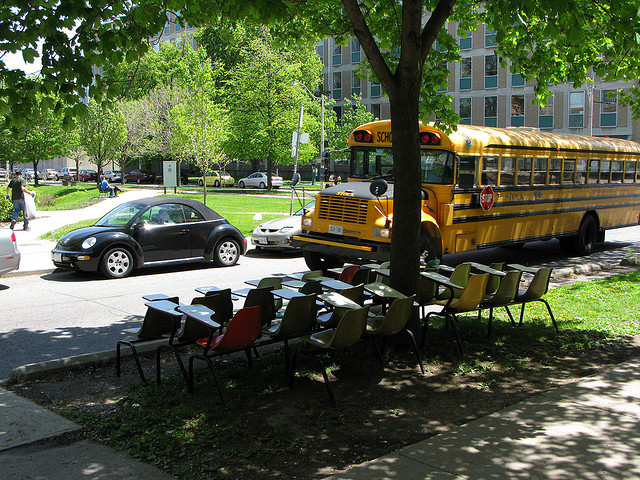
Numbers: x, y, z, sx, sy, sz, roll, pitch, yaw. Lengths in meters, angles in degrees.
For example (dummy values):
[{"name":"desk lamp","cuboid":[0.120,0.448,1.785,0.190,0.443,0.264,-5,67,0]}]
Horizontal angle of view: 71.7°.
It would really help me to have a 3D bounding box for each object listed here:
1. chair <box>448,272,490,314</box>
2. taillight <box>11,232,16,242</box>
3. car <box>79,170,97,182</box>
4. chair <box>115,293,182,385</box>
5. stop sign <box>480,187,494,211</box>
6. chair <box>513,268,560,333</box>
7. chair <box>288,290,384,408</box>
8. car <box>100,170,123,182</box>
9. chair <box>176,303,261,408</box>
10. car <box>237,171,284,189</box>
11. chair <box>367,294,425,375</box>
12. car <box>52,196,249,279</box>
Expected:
[{"name":"chair","cuboid":[2.086,0.602,6.226,0.368,0.316,0.340,-18,10,-21]},{"name":"taillight","cuboid":[-7.267,-0.086,10.463,0.062,0.236,0.246,2,-5,-25]},{"name":"car","cuboid":[-35.544,-10.004,67.670,2.110,1.546,4.870,-5,9,-35]},{"name":"chair","cuboid":[-2.233,1.278,5.626,0.603,0.839,0.649,36,-25,-21]},{"name":"stop sign","cuboid":[4.423,-1.136,11.841,0.089,0.577,0.606,3,-9,45]},{"name":"chair","cuboid":[3.422,1.001,7.420,0.797,1.117,0.842,2,-4,-32]},{"name":"chair","cuboid":[0.194,1.205,5.260,0.849,0.961,1.125,0,3,35]},{"name":"car","cuboid":[-30.222,-9.226,64.588,2.048,1.503,4.719,-3,11,-33]},{"name":"chair","cuboid":[-1.022,1.205,5.028,0.696,0.907,1.005,0,0,39]},{"name":"car","cuboid":[-7.005,-6.784,50.015,5.034,1.568,2.338,7,8,38]},{"name":"chair","cuboid":[0.843,1.211,5.810,0.788,1.022,0.829,0,-2,-29]},{"name":"car","cuboid":[-4.643,-0.073,12.655,4.501,1.728,2.361,0,-1,-32]}]
